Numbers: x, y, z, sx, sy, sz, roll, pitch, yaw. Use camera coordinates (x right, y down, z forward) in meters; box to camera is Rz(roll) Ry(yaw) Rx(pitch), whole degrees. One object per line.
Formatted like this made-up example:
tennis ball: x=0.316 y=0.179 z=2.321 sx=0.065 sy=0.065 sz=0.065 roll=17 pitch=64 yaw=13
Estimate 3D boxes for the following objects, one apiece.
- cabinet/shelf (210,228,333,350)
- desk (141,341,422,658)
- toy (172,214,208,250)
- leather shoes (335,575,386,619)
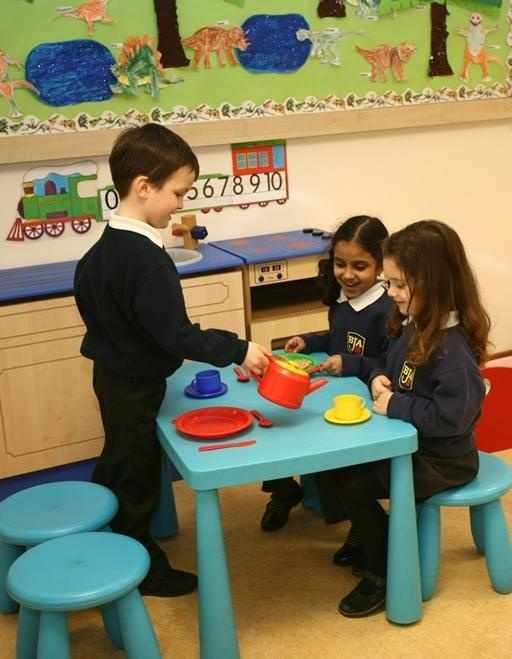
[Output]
cabinet/shelf: x=0.059 y=-0.148 z=2.122 sx=0.472 sy=0.385 sz=0.311 roll=-13 pitch=25 yaw=-19
desk: x=0.028 y=0.326 z=1.247 sx=0.492 sy=0.350 sz=0.595 roll=-5 pitch=5 yaw=-17
toy: x=-0.269 y=-0.405 z=2.358 sx=0.180 sy=0.139 sz=0.157 roll=0 pitch=3 yaw=-4
leather shoes: x=0.250 y=0.602 z=1.280 sx=0.140 sy=0.052 sz=0.063 roll=-21 pitch=4 yaw=-22
